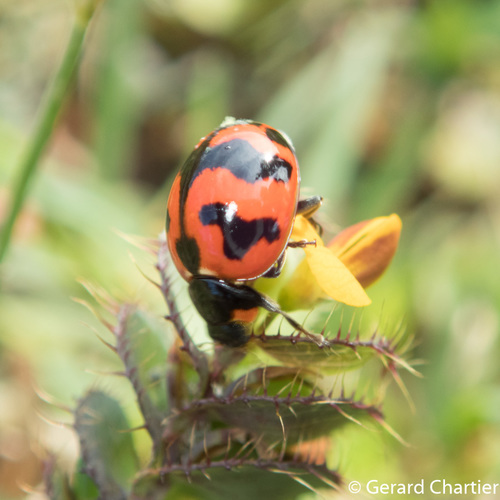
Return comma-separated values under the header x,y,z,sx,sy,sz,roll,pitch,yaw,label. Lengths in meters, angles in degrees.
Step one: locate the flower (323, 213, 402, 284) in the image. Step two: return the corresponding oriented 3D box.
x,y,z,sx,sy,sz,roll,pitch,yaw,label
0.280,-0.015,1.583,0.183,0.077,0.267,-1,28,31,flower
